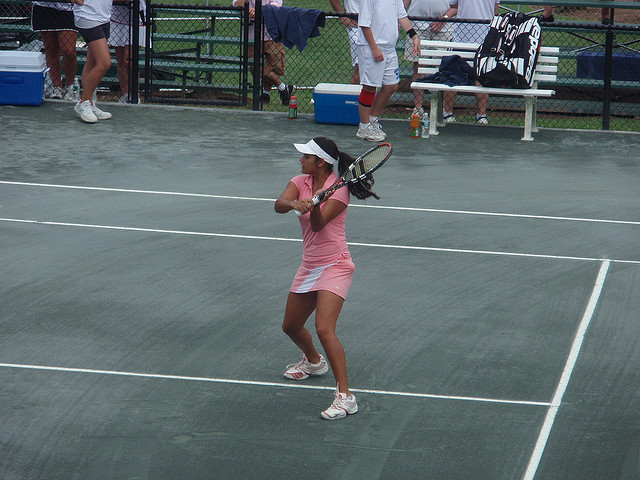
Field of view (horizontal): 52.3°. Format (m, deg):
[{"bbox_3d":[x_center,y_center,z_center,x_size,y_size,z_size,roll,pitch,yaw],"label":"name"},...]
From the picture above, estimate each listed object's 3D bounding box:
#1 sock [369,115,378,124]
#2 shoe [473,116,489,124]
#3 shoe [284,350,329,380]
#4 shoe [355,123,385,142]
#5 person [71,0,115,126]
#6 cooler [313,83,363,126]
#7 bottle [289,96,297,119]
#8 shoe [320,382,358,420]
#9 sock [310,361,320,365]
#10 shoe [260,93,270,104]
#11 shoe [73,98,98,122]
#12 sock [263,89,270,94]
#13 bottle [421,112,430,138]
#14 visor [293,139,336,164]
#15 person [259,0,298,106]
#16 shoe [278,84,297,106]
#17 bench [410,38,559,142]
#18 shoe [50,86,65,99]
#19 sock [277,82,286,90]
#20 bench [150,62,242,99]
[{"bbox_3d":[0.987,-2.278,12.214,0.128,0.161,0.217,0,12,4],"label":"sock"},{"bbox_3d":[3.459,-2.605,14.076,0.157,0.144,0.331,-3,5,-21],"label":"shoe"},{"bbox_3d":[-0.102,0.968,5.132,0.413,0.255,0.137,-7,21,2],"label":"shoe"},{"bbox_3d":[0.918,-2.019,12.127,0.538,0.319,0.250,0,12,3],"label":"shoe"},{"bbox_3d":[-4.286,-3.364,12.402,0.738,2.283,0.885,-6,13,-23],"label":"person"},{"bbox_3d":[0.385,-2.777,13.354,1.431,0.901,0.810,2,14,4],"label":"cooler"},{"bbox_3d":[-0.567,-2.803,13.738,0.162,0.453,0.321,-1,12,-4],"label":"bottle"},{"bbox_3d":[0.134,1.108,4.554,0.132,0.256,0.366,6,6,41],"label":"shoe"},{"bbox_3d":[-0.041,0.947,5.026,0.072,0.024,0.004,-1,12,-3],"label":"sock"},{"bbox_3d":[-1.253,-3.333,15.244,0.146,0.241,0.308,-1,12,-4],"label":"shoe"},{"bbox_3d":[-4.600,-2.532,12.686,0.623,0.282,0.249,43,38,18],"label":"shoe"},{"bbox_3d":[-1.242,-3.454,15.053,0.108,0.094,0.028,2,45,3],"label":"sock"},{"bbox_3d":[2.039,-2.241,12.638,0.162,0.464,0.415,1,12,9],"label":"bottle"},{"bbox_3d":[-0.041,-0.658,4.752,0.256,0.073,0.161,28,5,-9],"label":"visor"},{"bbox_3d":[-0.987,-4.222,14.666,0.740,2.306,1.578,-1,12,-2],"label":"person"},{"bbox_3d":[-0.734,-3.352,14.843,0.294,0.661,0.229,16,-1,-45],"label":"shoe"},{"bbox_3d":[3.198,-3.023,13.048,2.895,1.691,1.097,5,41,15],"label":"bench"},{"bbox_3d":[-5.958,-3.365,14.840,0.262,0.123,0.326,2,48,7],"label":"shoe"},{"bbox_3d":[-0.871,-3.458,14.646,0.118,0.129,0.147,-39,14,40],"label":"sock"},{"bbox_3d":[-2.960,-3.779,15.312,1.889,0.868,1.142,-2,12,-10],"label":"bench"}]
